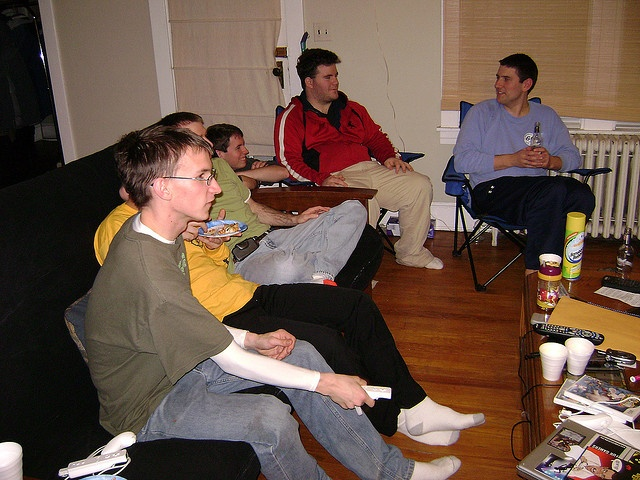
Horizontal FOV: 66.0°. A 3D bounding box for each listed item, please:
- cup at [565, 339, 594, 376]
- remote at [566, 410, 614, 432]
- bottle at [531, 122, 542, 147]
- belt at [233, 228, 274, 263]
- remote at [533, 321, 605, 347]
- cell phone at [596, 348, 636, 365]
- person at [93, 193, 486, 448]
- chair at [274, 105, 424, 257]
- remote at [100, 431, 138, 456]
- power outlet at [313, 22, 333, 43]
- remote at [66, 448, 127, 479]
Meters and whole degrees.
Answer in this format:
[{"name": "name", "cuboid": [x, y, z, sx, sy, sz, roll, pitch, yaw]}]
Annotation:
[{"name": "cup", "cuboid": [0.970, 0.437, 1.844, 0.091, 0.119, 0.106, 9, 18, 34]}, {"name": "remote", "cuboid": [0.907, 0.601, 1.626, 0.075, 0.029, 0.076, 6, 8, 25]}, {"name": "bottle", "cuboid": [1.488, -0.720, 3.355, 0.072, 0.154, 0.317, 5, 16, 23]}, {"name": "belt", "cuboid": [-0.358, 0.030, 2.676, 0.243, 0.055, 0.071, -31, 69, -22]}, {"name": "remote", "cuboid": [0.990, 0.356, 1.985, 0.278, 0.063, 0.077, 9, 47, 38]}, {"name": "cell phone", "cuboid": [1.120, 0.437, 1.858, 0.078, 0.024, 0.061, 2, 9, 17]}, {"name": "person", "cuboid": [0.029, 0.225, 2.516, 1.812, 1.096, 0.895, 8, 24, 8]}, {"name": "chair", "cuboid": [0.178, -0.404, 3.391, 0.873, 1.073, 0.696, 14, 40, 40]}, {"name": "remote", "cuboid": [-0.647, 0.655, 1.579, 0.055, 0.036, 0.101, 22, 26, 28]}, {"name": "power outlet", "cuboid": [0.029, -1.744, 4.106, 0.171, 0.162, 0.019, -1, 29, 5]}, {"name": "remote", "cuboid": [-0.700, 0.709, 1.523, 0.190, 0.064, 0.059, -8, 16, -24]}]
